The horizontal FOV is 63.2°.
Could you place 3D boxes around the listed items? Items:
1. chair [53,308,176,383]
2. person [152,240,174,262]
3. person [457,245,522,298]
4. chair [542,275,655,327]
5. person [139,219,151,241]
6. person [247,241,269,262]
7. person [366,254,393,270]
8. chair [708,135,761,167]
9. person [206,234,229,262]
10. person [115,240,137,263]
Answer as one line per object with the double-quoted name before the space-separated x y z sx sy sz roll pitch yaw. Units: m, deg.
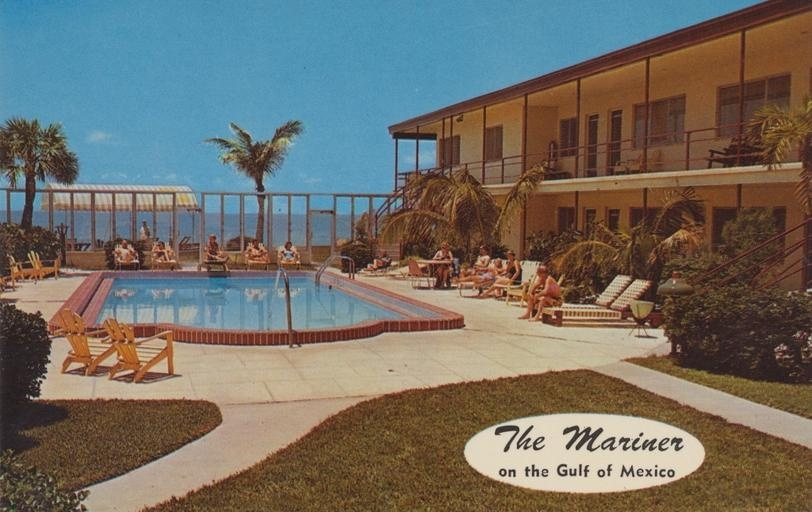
"chair" -5.026 1.491 11.523 2.036 1.141 0.772 1 3 17
"person" -9.752 -0.119 26.360 0.814 0.442 1.328 5 4 -24
"person" 2.746 0.637 20.164 1.458 0.730 1.727 -21 4 -7
"chair" 4.413 1.169 15.792 1.938 0.851 1.363 0 1 -7
"person" -11.551 -1.107 29.173 0.356 0.777 1.277 -1 3 -25
"person" -6.474 -0.128 28.325 0.731 0.571 1.196 1 12 -19
"person" -1.213 0.371 27.717 1.081 0.600 0.524 -17 2 15
"chair" 8.945 -2.766 18.028 1.077 0.956 3.339 2 3 21
"person" -7.340 -0.257 25.374 0.661 1.059 1.061 -1 3 -17
"person" -10.746 -0.090 25.288 0.761 0.587 1.008 -6 24 -28
